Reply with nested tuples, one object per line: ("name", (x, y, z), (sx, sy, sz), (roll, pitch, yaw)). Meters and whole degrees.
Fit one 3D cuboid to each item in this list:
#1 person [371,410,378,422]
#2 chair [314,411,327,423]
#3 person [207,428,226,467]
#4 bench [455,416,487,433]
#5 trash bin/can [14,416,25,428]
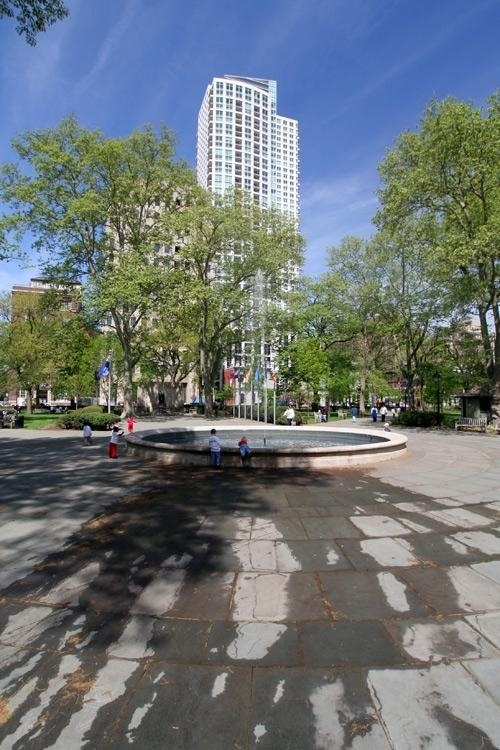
("person", (8.921, 2.887, 38.688), (0.214, 0.993, 1.268), (-1, 0, 20))
("chair", (5.340, 3.202, 40.760), (0.672, 0.893, 0.674), (5, -11, -38))
("person", (-0.862, 1.820, 13.306), (0.296, 0.880, 0.681), (-1, 0, -4))
("bench", (11.520, 2.567, 28.059), (1.539, 0.826, 2.810), (-1, 0, 21))
("trash bin/can", (-13.125, 2.667, 30.401), (0.586, 0.729, 0.615), (-7, -9, 20))
